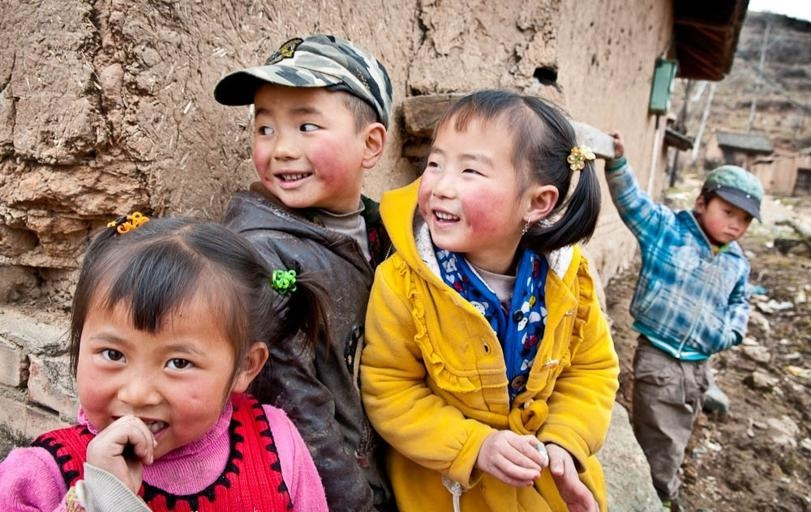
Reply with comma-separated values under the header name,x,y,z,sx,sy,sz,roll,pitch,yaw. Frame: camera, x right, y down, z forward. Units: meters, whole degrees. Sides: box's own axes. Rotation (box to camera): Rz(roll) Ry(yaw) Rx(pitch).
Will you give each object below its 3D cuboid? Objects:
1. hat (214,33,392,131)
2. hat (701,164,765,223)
name,x,y,z,sx,sy,sz,roll,pitch,yaw
hat,-0.401,-0.755,2.556,0.549,0.277,0.385,21,-12,-27
hat,2.099,-0.456,3.879,0.299,0.238,0.396,28,1,-44
